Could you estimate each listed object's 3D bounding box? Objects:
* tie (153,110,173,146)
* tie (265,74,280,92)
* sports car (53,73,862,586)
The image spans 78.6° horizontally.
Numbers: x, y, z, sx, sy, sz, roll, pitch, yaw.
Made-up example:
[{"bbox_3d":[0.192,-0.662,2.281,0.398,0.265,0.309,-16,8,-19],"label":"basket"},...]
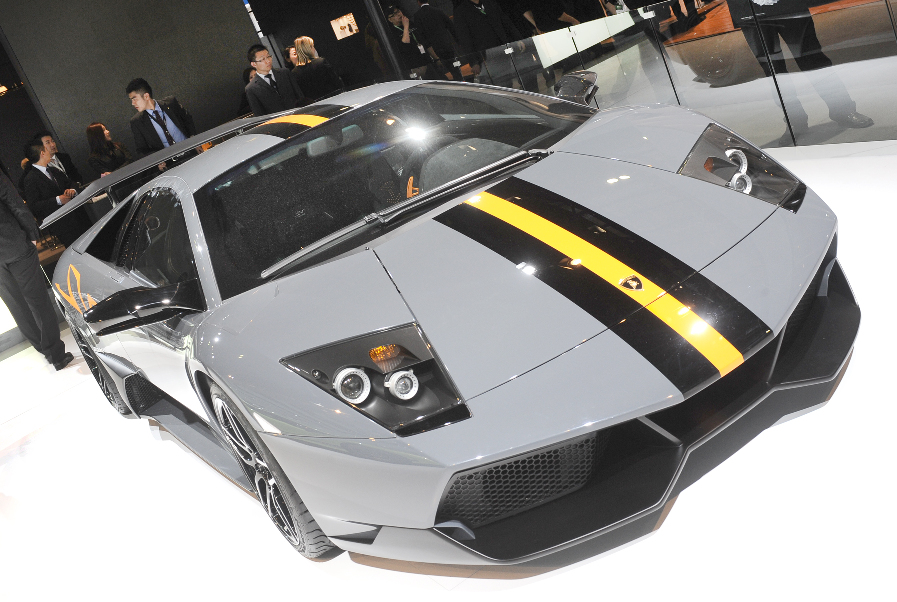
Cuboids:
[{"bbox_3d":[-3.531,-2.127,6.687,0.163,0.471,0.041,-25,9,-27],"label":"tie"},{"bbox_3d":[-2.272,-2.791,7.029,0.148,0.201,0.057,-39,-4,8],"label":"tie"},{"bbox_3d":[-0.551,-0.415,3.345,2.757,1.320,4.487,-30,29,-27],"label":"sports car"}]
